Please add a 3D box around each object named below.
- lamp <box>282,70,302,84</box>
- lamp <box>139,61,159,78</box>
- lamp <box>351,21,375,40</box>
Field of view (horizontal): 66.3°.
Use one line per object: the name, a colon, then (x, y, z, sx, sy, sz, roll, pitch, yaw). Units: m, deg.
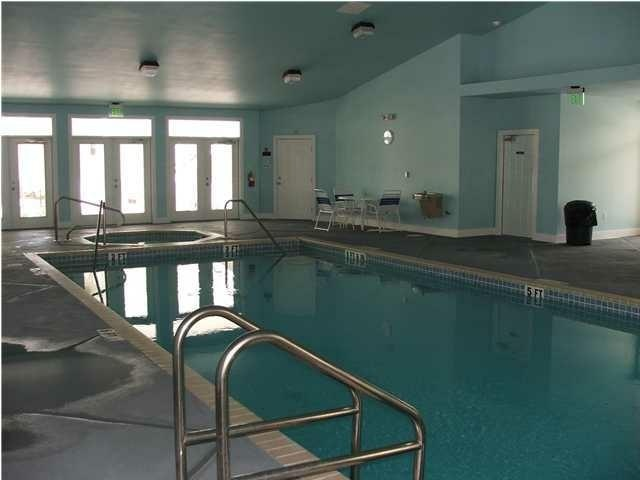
lamp: (-0.663, -3.830, 11.533, 0.476, 0.277, 1.041, -1, 9, -2)
lamp: (-3.435, -3.504, 9.841, 0.303, 0.140, 0.295, 2, -23, -19)
lamp: (0.756, -3.801, 8.780, 0.349, 0.287, 0.588, -1, 10, -1)
